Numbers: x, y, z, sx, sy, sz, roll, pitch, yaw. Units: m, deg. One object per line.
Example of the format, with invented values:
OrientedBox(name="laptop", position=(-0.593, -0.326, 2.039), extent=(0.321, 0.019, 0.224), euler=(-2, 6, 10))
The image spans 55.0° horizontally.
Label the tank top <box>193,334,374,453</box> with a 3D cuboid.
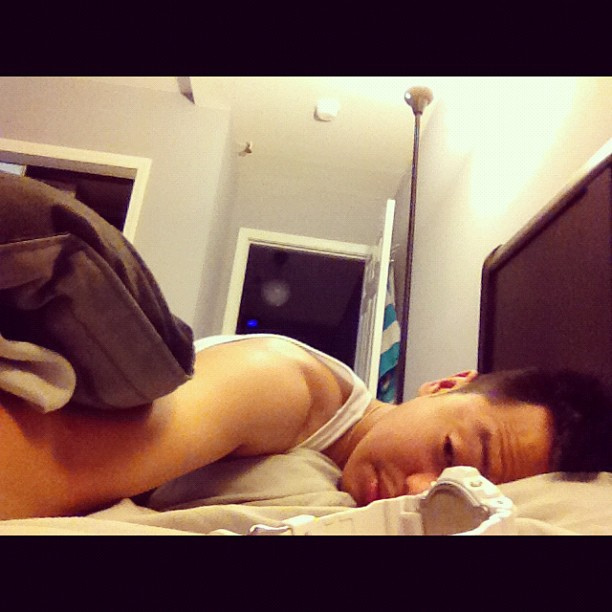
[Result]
OrientedBox(name="tank top", position=(-0.031, 0.137, 0.867), extent=(0.220, 0.079, 0.171), euler=(4, 41, -9))
